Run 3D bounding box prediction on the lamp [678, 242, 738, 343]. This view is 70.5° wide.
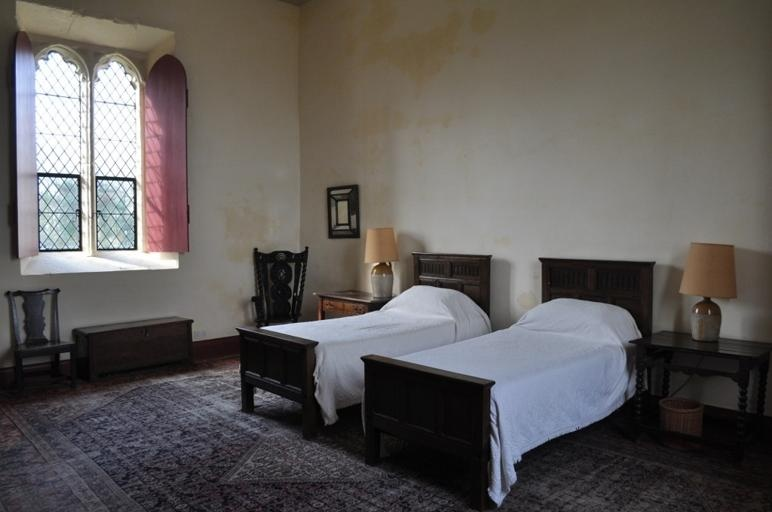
[{"bbox_3d":[3.223,0.350,5.389,0.524,0.948,0.318,-3,11,-11],"label":"lamp"}]

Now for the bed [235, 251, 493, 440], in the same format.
[{"bbox_3d":[-0.208,0.771,6.693,1.702,1.957,2.951,2,5,42],"label":"bed"}]

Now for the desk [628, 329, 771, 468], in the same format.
[{"bbox_3d":[3.069,1.096,5.527,1.347,1.277,1.053,4,8,44],"label":"desk"}]

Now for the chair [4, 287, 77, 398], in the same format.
[{"bbox_3d":[-4.182,0.978,6.619,0.606,1.090,0.719,-9,14,-36],"label":"chair"}]

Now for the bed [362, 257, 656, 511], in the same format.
[{"bbox_3d":[1.239,0.971,5.528,2.016,1.746,2.624,1,1,38],"label":"bed"}]

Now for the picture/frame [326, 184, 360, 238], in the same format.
[{"bbox_3d":[-0.623,-0.701,8.301,0.769,0.959,0.043,4,8,41],"label":"picture/frame"}]
